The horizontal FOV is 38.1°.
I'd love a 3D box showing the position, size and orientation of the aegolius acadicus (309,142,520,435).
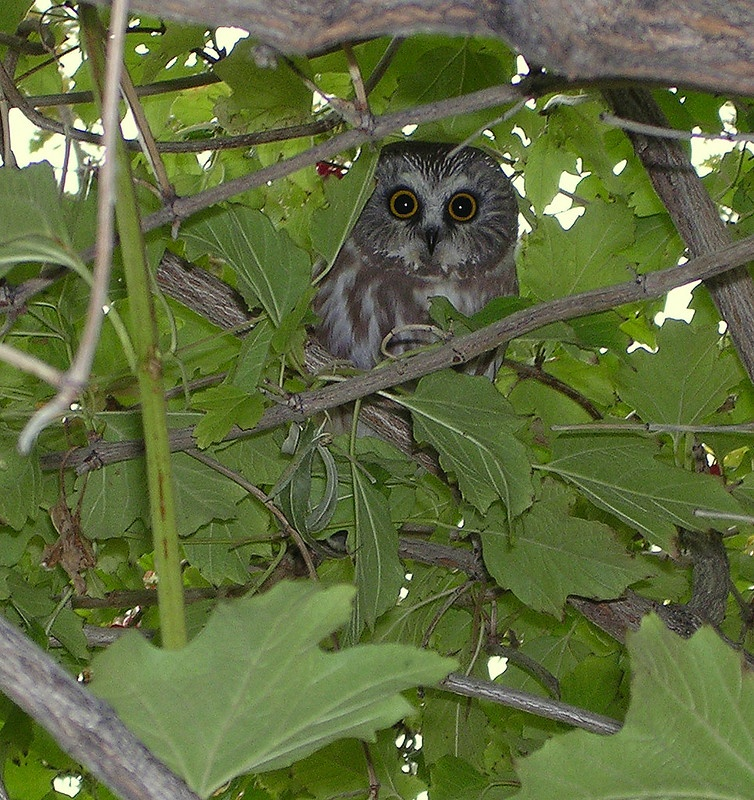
[{"bbox_3d":[0.086,-0.309,2.161,0.411,0.510,0.336,-1,-49,1],"label":"aegolius acadicus"}]
